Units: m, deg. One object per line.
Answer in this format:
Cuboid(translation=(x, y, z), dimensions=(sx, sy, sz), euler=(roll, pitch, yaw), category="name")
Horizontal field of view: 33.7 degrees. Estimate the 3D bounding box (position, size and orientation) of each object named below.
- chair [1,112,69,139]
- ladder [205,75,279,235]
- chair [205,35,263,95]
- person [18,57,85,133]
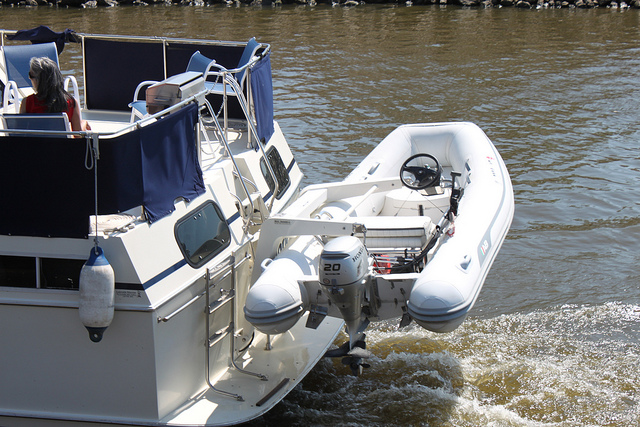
Cuboid(translation=(-4.560, -1.390, 17.012), dimensions=(0.991, 0.413, 1.437), euler=(-5, 18, -16), category="chair")
Cuboid(translation=(-1.221, -0.676, 18.531), dimensions=(1.183, 1.862, 1.180), euler=(-3, 14, 24), category="ladder")
Cuboid(translation=(-1.484, -2.697, 19.610), dimensions=(1.511, 0.981, 0.861), euler=(1, 28, -1), category="chair")
Cuboid(translation=(-4.602, -1.910, 17.904), dimensions=(1.153, 1.493, 1.134), euler=(6, 27, 3), category="person")
